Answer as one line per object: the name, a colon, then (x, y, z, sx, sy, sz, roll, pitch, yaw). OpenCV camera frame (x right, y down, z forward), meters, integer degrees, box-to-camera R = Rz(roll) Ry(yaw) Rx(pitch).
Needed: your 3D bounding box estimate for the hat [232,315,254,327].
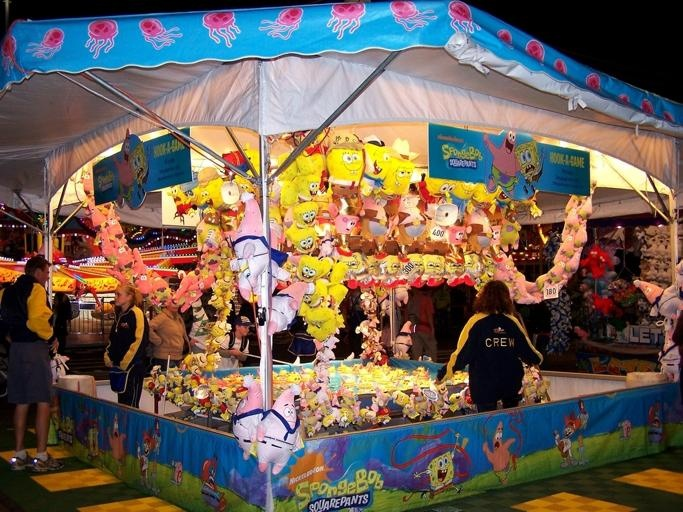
hat: (-1.377, 0.919, 8.573, 0.312, 0.172, 0.231, -10, -7, 31)

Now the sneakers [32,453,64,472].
sneakers: (-3.188, 2.227, 6.697, 0.384, 0.206, 0.145, 3, -1, -38)
